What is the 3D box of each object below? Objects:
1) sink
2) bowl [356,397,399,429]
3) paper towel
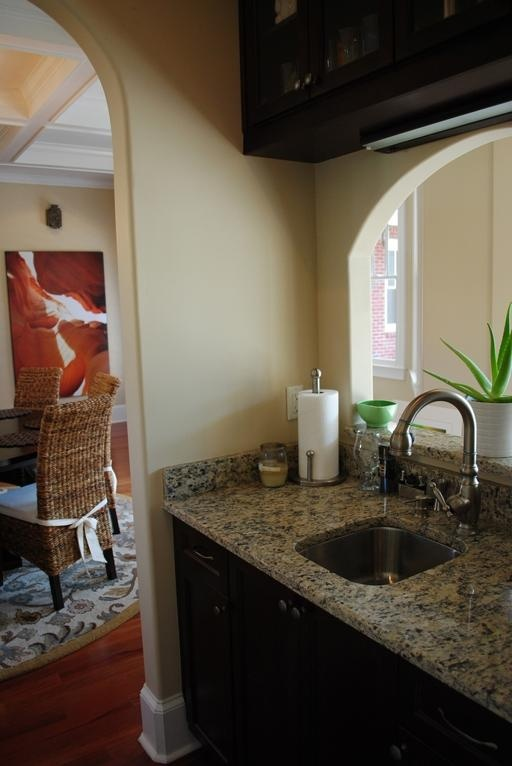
[{"bbox_3d":[0.274,0.383,1.376,0.216,0.135,0.213,-11,11,-34],"label":"sink"},{"bbox_3d":[0.375,0.095,1.824,0.084,0.065,0.105,0,-2,3],"label":"bowl"},{"bbox_3d":[0.185,0.162,1.770,0.120,0.268,0.092,-2,8,2],"label":"paper towel"}]
